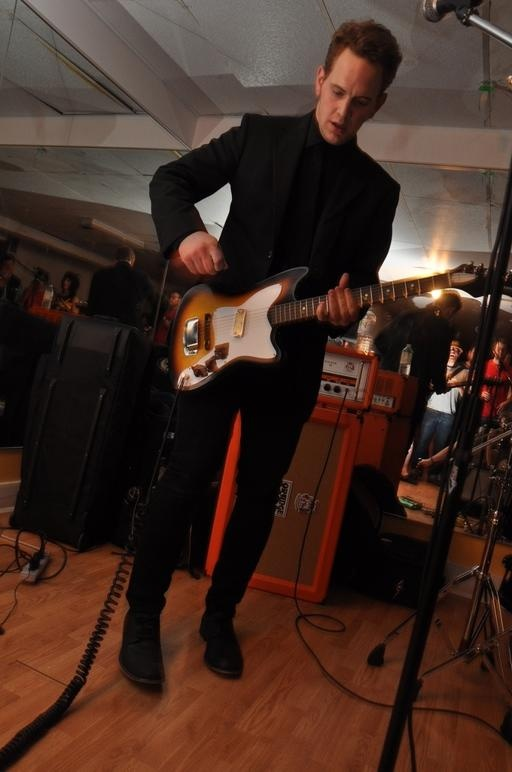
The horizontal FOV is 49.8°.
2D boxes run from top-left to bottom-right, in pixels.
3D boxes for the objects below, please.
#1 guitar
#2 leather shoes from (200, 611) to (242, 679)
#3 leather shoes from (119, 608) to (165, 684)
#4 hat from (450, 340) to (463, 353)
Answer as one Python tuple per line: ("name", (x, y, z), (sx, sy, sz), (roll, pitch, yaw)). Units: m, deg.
("guitar", (0.097, -0.118, 1.227), (0.696, 0.293, 0.091), (11, -4, 27))
("leather shoes", (-0.086, 0.671, 1.408), (0.057, 0.073, 0.168), (6, -3, -5))
("leather shoes", (-0.252, 0.592, 1.250), (0.101, 0.158, 0.103), (13, -4, -14))
("hat", (0.967, -0.193, 2.669), (0.043, 0.045, 0.059), (14, 14, 6))
